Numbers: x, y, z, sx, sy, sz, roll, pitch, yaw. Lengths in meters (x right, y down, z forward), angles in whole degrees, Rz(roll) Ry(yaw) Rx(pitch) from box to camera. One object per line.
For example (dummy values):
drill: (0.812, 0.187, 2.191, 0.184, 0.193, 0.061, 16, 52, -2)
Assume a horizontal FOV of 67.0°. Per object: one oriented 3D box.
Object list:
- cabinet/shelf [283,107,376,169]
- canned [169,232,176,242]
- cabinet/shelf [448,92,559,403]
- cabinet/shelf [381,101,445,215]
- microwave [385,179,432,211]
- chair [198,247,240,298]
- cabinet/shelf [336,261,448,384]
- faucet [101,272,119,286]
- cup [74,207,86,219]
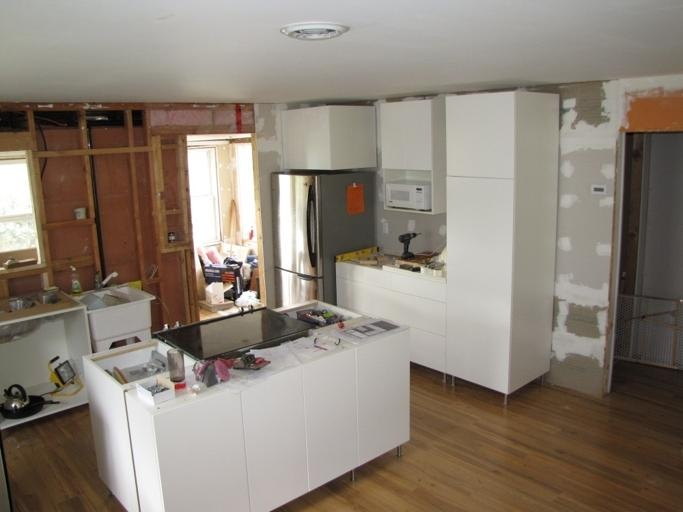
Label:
cabinet/shelf: (-0.157, -1.449, 6.394, 1.224, 0.739, 0.689, -3, 12, -2)
canned: (-2.003, -0.220, 6.076, 0.081, 0.114, 0.037, -13, 17, -40)
cabinet/shelf: (1.566, -0.125, 5.051, 1.071, 2.836, 0.719, 1, 13, 14)
cabinet/shelf: (0.860, -1.109, 5.832, 0.408, 1.132, 0.732, -13, 19, -37)
microwave: (0.762, -0.655, 5.766, 0.339, 0.314, 0.587, -17, 22, -40)
chair: (-1.918, 0.289, 8.222, 0.523, 0.756, 0.858, -11, 15, -34)
cabinet/shelf: (0.562, 0.660, 5.073, 0.373, 0.709, 1.245, -5, 9, -40)
faucet: (-2.563, 0.256, 5.712, 0.184, 0.171, 0.329, -8, 13, -22)
cup: (-2.793, -0.450, 5.532, 0.127, 0.124, 0.096, -9, 14, -26)
